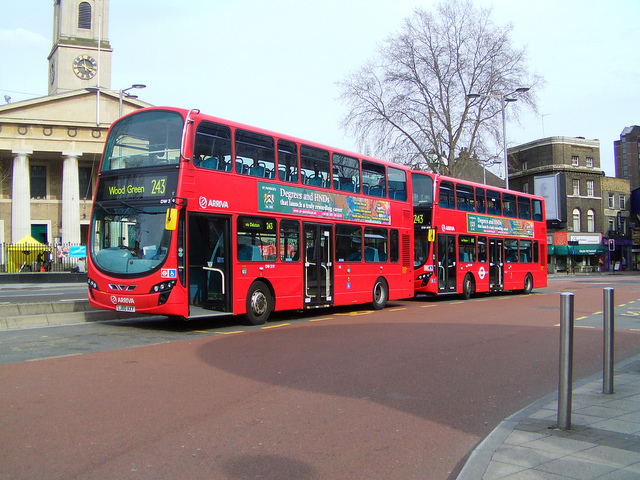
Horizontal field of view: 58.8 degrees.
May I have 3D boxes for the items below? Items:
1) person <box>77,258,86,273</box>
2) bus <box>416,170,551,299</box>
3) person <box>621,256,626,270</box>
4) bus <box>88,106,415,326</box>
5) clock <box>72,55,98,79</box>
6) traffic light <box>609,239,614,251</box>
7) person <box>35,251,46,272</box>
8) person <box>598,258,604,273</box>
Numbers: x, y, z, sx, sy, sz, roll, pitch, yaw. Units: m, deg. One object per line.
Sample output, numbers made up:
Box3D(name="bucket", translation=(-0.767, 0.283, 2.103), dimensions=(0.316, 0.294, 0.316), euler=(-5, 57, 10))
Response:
Box3D(name="person", translation=(-15.822, 1.611, 37.500), dimensions=(0.419, 0.838, 1.719), euler=(0, 1, -24))
Box3D(name="bus", translation=(7.022, 0.004, 25.226), dimensions=(8.819, 5.016, 2.676), euler=(5, -6, -38))
Box3D(name="person", translation=(39.043, 2.806, 72.736), dimensions=(0.296, 1.098, 1.629), euler=(1, 1, 32))
Box3D(name="bus", translation=(-1.038, -0.542, 17.359), dimensions=(3.534, 5.181, 11.394), euler=(2, -1, 36))
Box3D(name="clock", translation=(-23.317, -17.025, 55.897), dimensions=(1.755, 1.904, 0.089), euler=(37, -28, -28))
Box3D(name="traffic light", translation=(35.620, 0.546, 69.326), dimensions=(0.937, 1.385, 0.355), euler=(0, 1, -41))
Box3D(name="person", translation=(-18.728, 1.357, 37.938), dimensions=(0.484, 1.264, 1.030), euler=(0, 1, -27))
Box3D(name="person", translation=(33.892, 2.859, 68.205), dimensions=(0.468, 0.999, 1.299), euler=(1, 1, 30))
